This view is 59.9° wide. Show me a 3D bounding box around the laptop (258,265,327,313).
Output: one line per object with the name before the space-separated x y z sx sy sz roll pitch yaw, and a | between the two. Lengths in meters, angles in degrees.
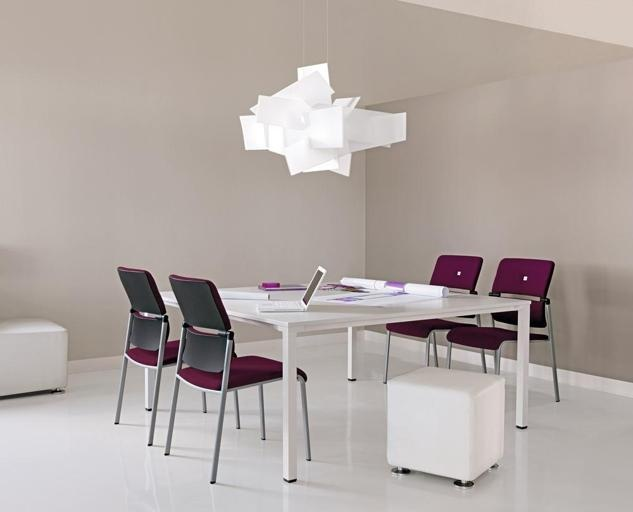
laptop | -0.132 0.157 2.974 0.413 0.243 0.401 4 8 28

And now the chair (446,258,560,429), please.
chair | 1.372 0.579 4.048 0.701 1.090 0.666 -3 4 -40

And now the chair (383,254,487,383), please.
chair | 0.950 0.516 4.431 0.674 1.045 0.627 -4 8 -42

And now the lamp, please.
lamp | 0.044 -0.735 2.982 0.841 0.555 0.607 -1 4 -14

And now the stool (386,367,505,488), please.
stool | 0.650 0.810 2.825 0.484 0.494 0.501 -2 -3 38

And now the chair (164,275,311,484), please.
chair | -0.420 0.593 2.874 0.678 0.994 0.631 0 1 -26
